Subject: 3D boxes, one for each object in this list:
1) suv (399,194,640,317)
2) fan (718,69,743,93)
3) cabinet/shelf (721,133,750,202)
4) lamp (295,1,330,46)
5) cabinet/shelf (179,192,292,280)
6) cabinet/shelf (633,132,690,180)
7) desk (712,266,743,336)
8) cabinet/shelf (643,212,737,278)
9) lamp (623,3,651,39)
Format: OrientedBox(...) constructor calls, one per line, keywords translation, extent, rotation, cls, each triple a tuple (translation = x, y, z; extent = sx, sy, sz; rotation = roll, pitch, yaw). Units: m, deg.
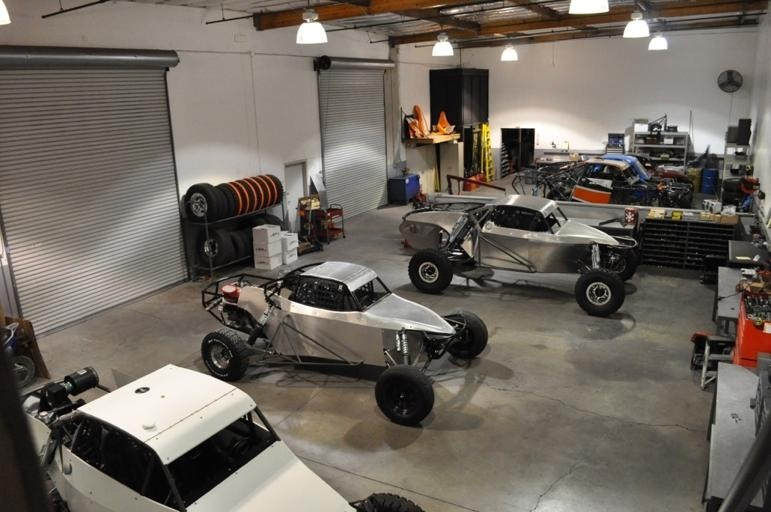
OrientedBox(translation=(2.740, 0.178, 11.107), extent=(4.464, 1.764, 2.633), rotation=(5, 19, 21), cls="suv")
OrientedBox(translation=(12.975, -6.587, 19.007), extent=(0.863, 0.833, 0.482), rotation=(9, 19, 27), cls="fan")
OrientedBox(translation=(11.119, -2.945, 16.088), extent=(0.704, 2.203, 2.987), rotation=(11, 20, 32), cls="cabinet/shelf")
OrientedBox(translation=(-1.537, -4.706, 10.221), extent=(0.487, 0.877, 2.218), rotation=(-2, 17, -9), cls="lamp")
OrientedBox(translation=(-3.803, -0.446, 12.454), extent=(0.611, 1.110, 2.065), rotation=(9, 18, 35), cls="cabinet/shelf")
OrientedBox(translation=(10.884, -4.121, 19.846), extent=(0.706, 1.816, 1.964), rotation=(-25, 26, -30), cls="cabinet/shelf")
OrientedBox(translation=(5.578, 0.736, 8.224), extent=(0.305, 0.606, 1.065), rotation=(1, 32, 22), cls="desk")
OrientedBox(translation=(7.124, -0.283, 11.699), extent=(1.476, 0.816, 0.460), rotation=(3, 8, 20), cls="cabinet/shelf")
OrientedBox(translation=(5.198, -4.810, 10.436), extent=(0.404, 0.487, 0.578), rotation=(8, 18, 24), cls="lamp")
